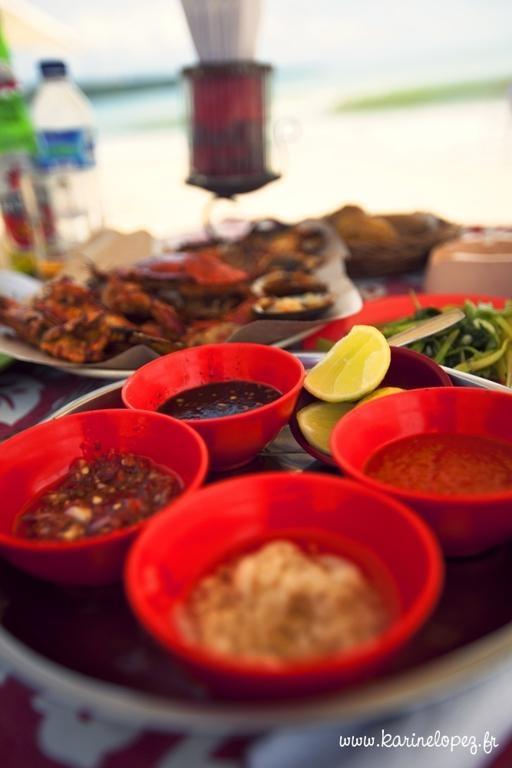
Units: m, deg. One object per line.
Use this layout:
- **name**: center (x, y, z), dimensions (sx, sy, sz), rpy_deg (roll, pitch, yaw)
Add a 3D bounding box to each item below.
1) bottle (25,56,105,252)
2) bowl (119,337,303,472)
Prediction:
- **bottle**: center (-0.507, -0.610, 1.839), dimensions (0.204, 0.488, 0.139), rpy_deg (2, 27, 11)
- **bowl**: center (-0.062, 0.018, 1.156), dimensions (0.272, 0.113, 0.244), rpy_deg (-3, 32, 8)
